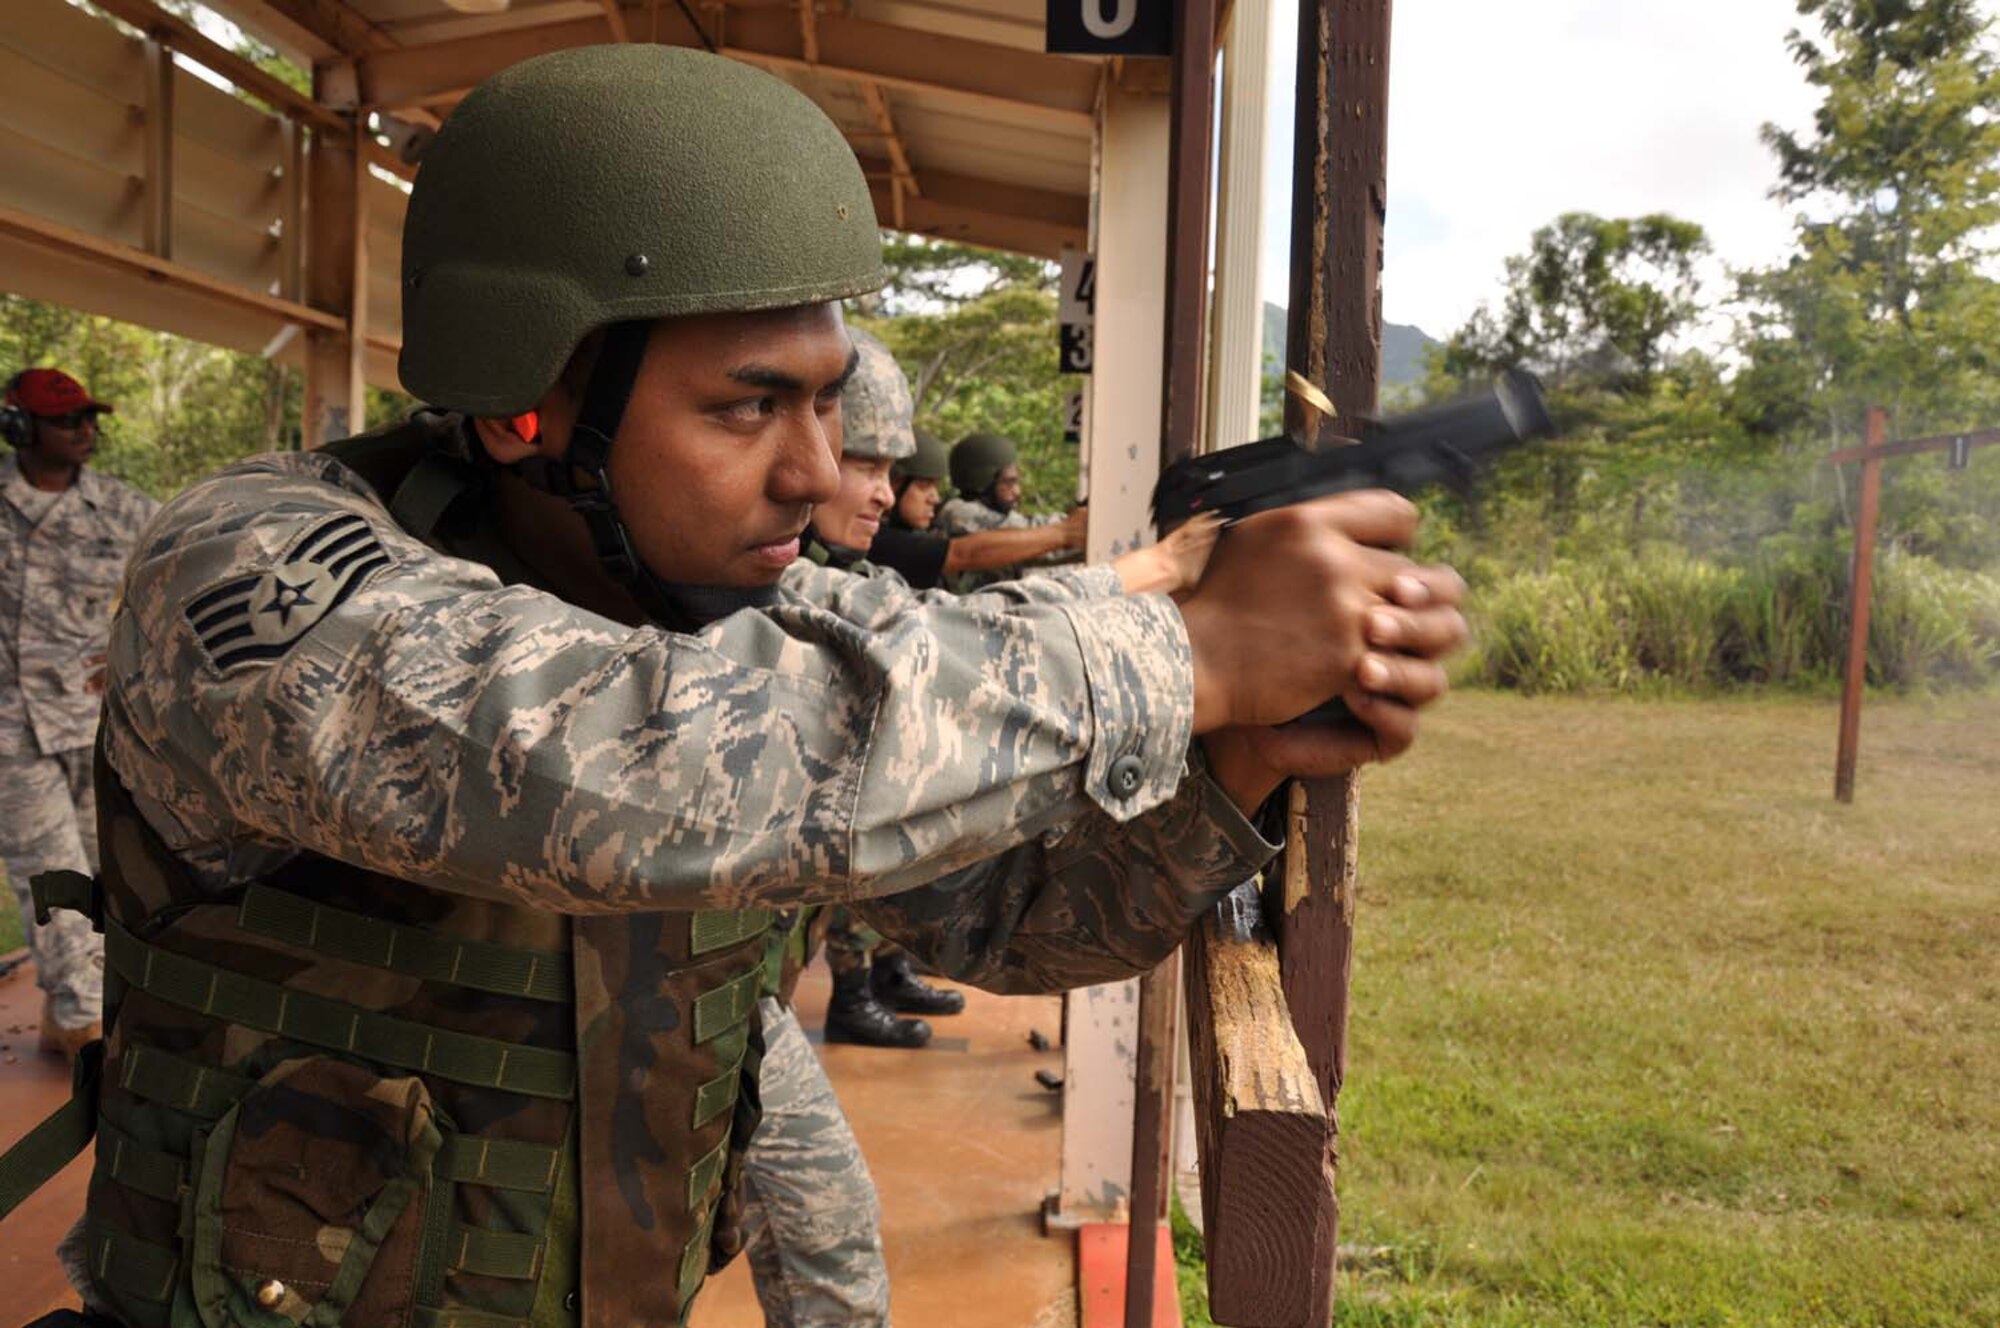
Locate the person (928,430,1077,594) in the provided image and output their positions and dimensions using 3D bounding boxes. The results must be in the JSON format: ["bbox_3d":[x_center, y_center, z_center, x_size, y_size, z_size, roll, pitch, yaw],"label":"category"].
[{"bbox_3d":[0.077,-0.823,9.915,0.920,1.009,0.713,6,10,1],"label":"person"}]

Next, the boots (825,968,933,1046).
[{"bbox_3d":[-0.614,1.615,8.012,0.600,0.448,0.244,1,-1,-5],"label":"boots"}]
